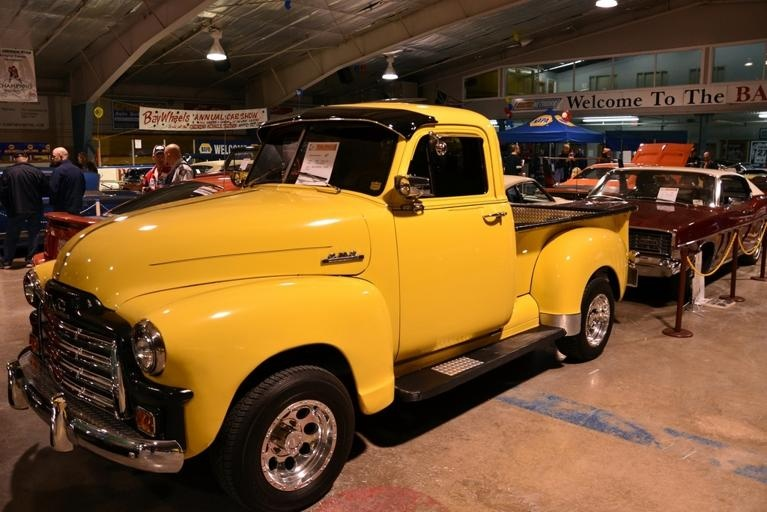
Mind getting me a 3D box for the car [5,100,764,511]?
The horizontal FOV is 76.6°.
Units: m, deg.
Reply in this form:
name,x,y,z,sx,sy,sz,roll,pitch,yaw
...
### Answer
name,x,y,z,sx,sy,sz,roll,pitch,yaw
car,0.203,0.108,5.435,6.330,2.236,3.096,-6,4,-34
